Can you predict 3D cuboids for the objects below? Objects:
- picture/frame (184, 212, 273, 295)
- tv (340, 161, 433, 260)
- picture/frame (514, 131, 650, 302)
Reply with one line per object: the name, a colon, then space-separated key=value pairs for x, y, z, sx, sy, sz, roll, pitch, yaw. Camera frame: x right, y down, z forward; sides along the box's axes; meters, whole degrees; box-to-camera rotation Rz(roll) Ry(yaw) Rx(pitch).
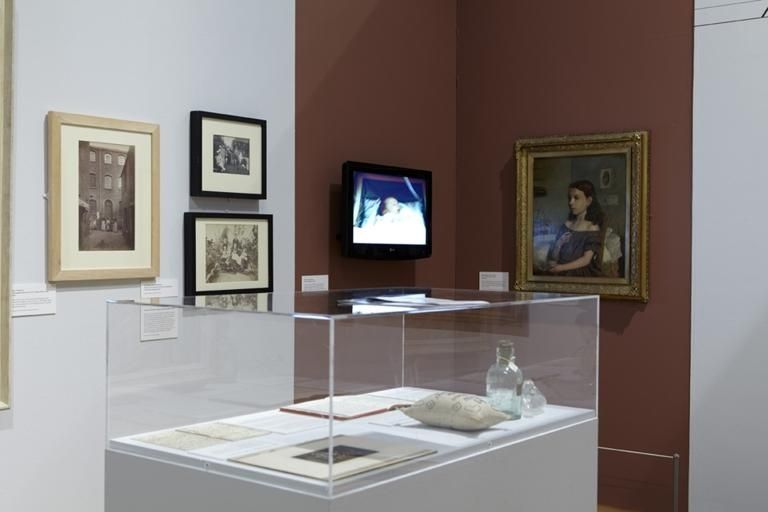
picture/frame: x=-0.909 y=-0.007 z=3.515 sx=0.561 sy=0.496 sz=0.051 roll=-3 pitch=-4 yaw=20
tv: x=-0.010 y=-0.319 z=4.205 sx=0.726 sy=0.610 sz=0.097 roll=1 pitch=-3 yaw=-39
picture/frame: x=1.494 y=-0.295 z=4.331 sx=1.208 sy=1.500 sz=0.151 roll=4 pitch=5 yaw=37
